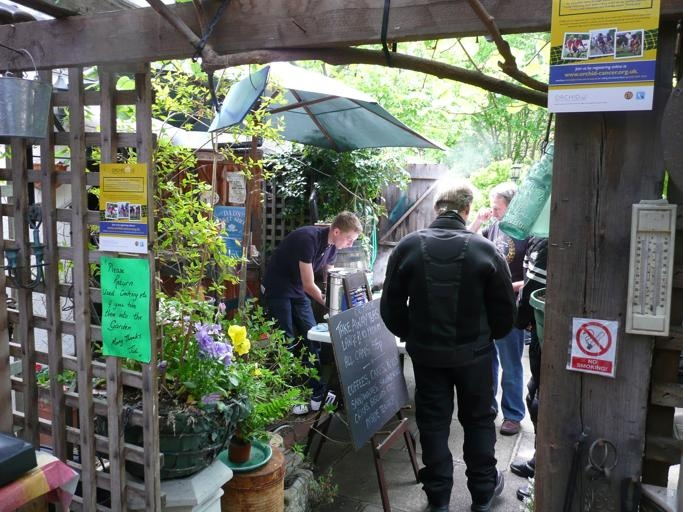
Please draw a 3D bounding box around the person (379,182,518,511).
[{"bbox_3d":[0.658,0.619,3.793,0.807,2.171,0.438,0,6,2],"label":"person"}]

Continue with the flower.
[{"bbox_3d":[-0.734,0.525,3.422,0.471,0.688,0.679,-10,-13,36],"label":"flower"}]

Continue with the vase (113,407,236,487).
[{"bbox_3d":[-0.850,0.929,3.109,0.425,0.242,0.425,-3,-5,26],"label":"vase"}]

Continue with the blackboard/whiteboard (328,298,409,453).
[{"bbox_3d":[0.208,0.746,4.130,0.027,0.867,0.857,-8,5,31],"label":"blackboard/whiteboard"}]

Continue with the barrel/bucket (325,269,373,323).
[{"bbox_3d":[0.023,0.324,4.684,0.285,0.422,0.393,-7,13,-35],"label":"barrel/bucket"}]
